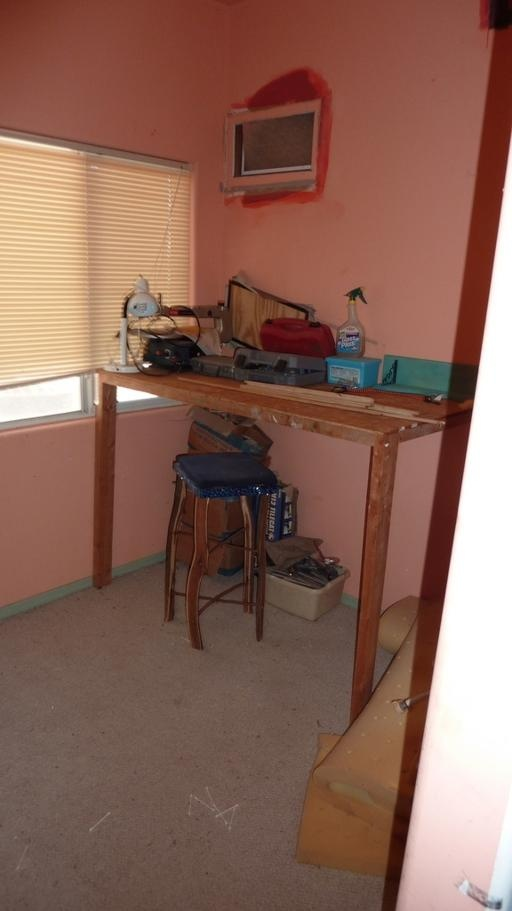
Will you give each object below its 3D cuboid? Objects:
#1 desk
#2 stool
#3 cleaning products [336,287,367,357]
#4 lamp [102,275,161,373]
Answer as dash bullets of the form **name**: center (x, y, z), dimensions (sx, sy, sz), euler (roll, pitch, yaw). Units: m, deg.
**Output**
- **desk**: center (0.144, 0.228, 2.313), dimensions (1.015, 0.849, 0.695), euler (10, 11, 38)
- **stool**: center (-0.128, 0.352, 2.424), dimensions (0.398, 0.671, 0.449), euler (7, 13, 16)
- **cleaning products**: center (0.388, -0.543, 2.581), dimensions (0.115, 0.264, 0.261), euler (4, 14, 7)
- **lamp**: center (-0.523, -0.578, 2.737), dimensions (0.204, 0.363, 0.351), euler (0, 14, -10)
